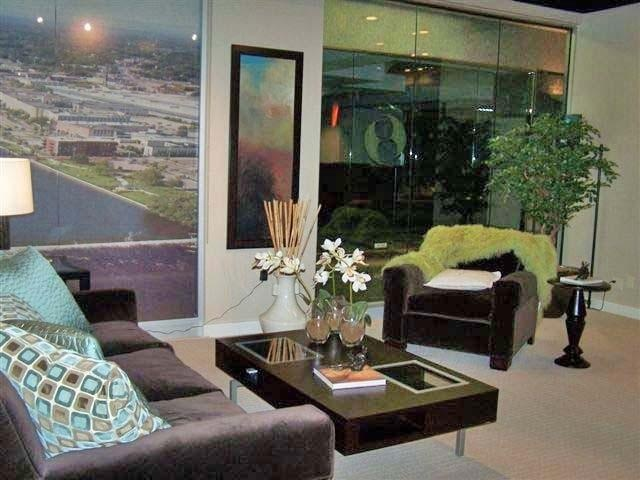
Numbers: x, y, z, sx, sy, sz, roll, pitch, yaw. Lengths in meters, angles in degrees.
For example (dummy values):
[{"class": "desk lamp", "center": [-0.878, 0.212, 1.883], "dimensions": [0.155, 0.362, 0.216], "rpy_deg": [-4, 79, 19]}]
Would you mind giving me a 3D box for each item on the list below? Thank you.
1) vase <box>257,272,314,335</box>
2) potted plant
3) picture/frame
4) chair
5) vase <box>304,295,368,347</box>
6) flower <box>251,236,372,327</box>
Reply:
[{"class": "vase", "center": [-0.285, 0.568, 4.351], "dimensions": [0.435, 0.583, 0.439], "rpy_deg": [7, 7, 44]}, {"class": "potted plant", "center": [2.653, -0.485, 6.572], "dimensions": [1.931, 1.916, 1.390], "rpy_deg": [-1, -2, 1]}, {"class": "picture/frame", "center": [-0.516, -0.843, 4.929], "dimensions": [0.699, 1.809, 0.277], "rpy_deg": [-1, 10, -15]}, {"class": "chair", "center": [1.322, 0.363, 4.685], "dimensions": [1.283, 1.028, 1.292], "rpy_deg": [2, 6, 31]}, {"class": "vase", "center": [0.115, 0.491, 3.263], "dimensions": [0.374, 0.212, 0.256], "rpy_deg": [1, 2, 32]}, {"class": "flower", "center": [0.107, 0.217, 3.806], "dimensions": [0.792, 0.621, 0.886], "rpy_deg": [1, 0, 39]}]
